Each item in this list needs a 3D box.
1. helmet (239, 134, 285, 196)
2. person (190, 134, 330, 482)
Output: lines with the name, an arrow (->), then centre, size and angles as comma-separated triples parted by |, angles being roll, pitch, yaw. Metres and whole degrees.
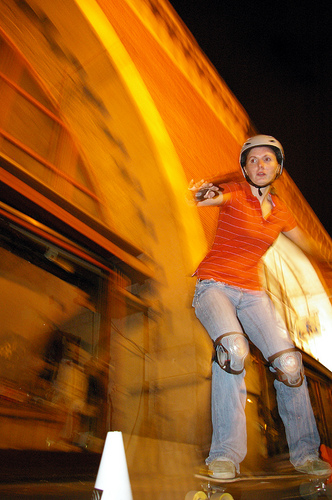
helmet -> 0.439, -0.416, 1.923 | 0.251, 0.318, 0.262 | 3, -20, 10
person -> 0.336, 0.090, 1.510 | 0.504, 1.334, 0.327 | 5, -34, -7
